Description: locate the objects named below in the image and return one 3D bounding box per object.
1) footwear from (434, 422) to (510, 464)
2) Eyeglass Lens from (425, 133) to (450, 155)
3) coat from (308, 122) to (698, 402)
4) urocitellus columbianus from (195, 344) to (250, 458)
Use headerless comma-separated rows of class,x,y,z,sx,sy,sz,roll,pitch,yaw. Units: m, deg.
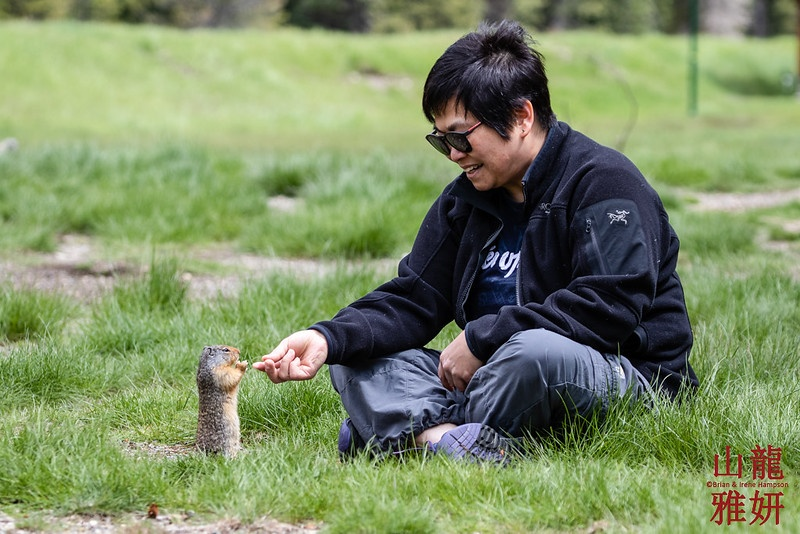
footwear,0.363,0.852,4.545,0.319,0.189,0.151,10,19,17
Eyeglass Lens,0.213,-0.650,4.863,0.118,0.044,0.114,-9,-6,-24
coat,0.444,0.077,4.916,1.758,1.428,1.382,5,-9,-25
urocitellus columbianus,-0.931,0.722,4.840,0.275,0.583,0.245,-4,9,-18
